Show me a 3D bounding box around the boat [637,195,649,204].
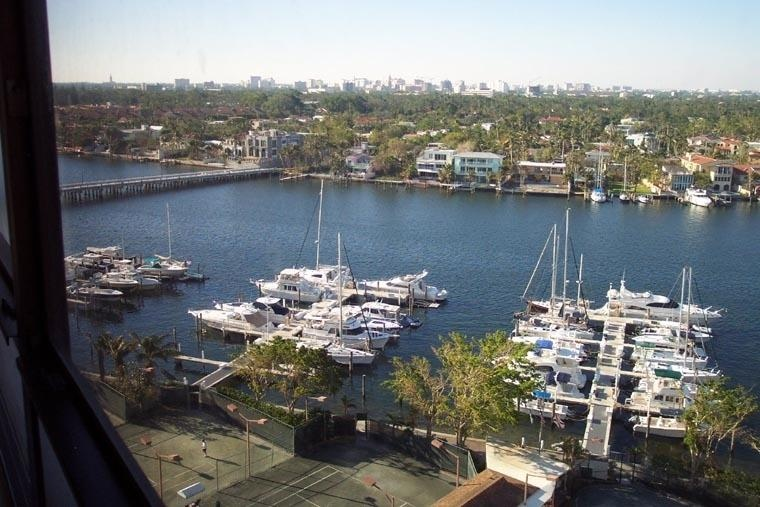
[{"bbox_3d":[9.371,-1.923,25.605,0.401,0.215,0.647,5,13,13],"label":"boat"}]

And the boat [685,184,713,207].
[{"bbox_3d":[11.213,-1.987,25.124,0.625,0.431,0.936,-4,21,1],"label":"boat"}]

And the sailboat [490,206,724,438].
[{"bbox_3d":[3.924,1.117,12.385,2.512,1.300,3.583,3,21,17],"label":"sailboat"}]

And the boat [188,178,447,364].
[{"bbox_3d":[-1.381,0.305,15.513,4.314,2.412,3.253,8,21,22],"label":"boat"}]
